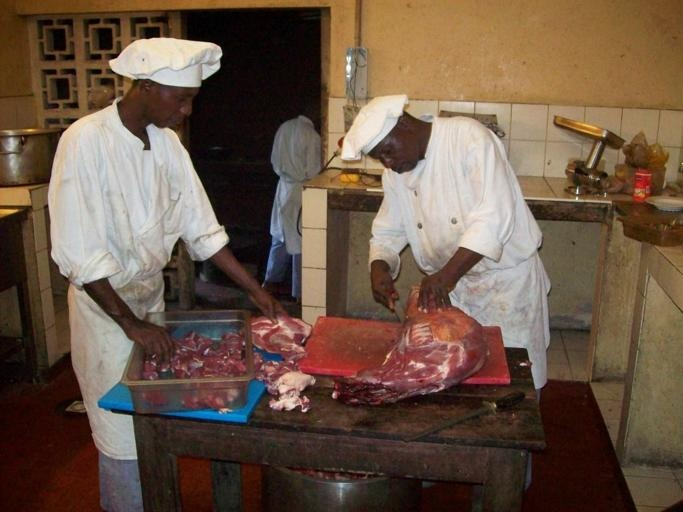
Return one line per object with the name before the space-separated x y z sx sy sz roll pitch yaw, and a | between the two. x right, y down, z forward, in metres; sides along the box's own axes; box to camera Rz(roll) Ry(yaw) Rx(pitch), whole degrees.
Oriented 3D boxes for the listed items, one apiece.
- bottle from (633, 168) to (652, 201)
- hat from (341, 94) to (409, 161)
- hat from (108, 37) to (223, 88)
bottle | 2.334 -0.546 4.856 0.119 0.221 0.263 9 16 24
hat | 0.160 -0.636 3.126 0.300 0.317 0.142 2 15 1
hat | -0.889 -0.954 3.020 0.353 0.135 0.362 21 23 25
